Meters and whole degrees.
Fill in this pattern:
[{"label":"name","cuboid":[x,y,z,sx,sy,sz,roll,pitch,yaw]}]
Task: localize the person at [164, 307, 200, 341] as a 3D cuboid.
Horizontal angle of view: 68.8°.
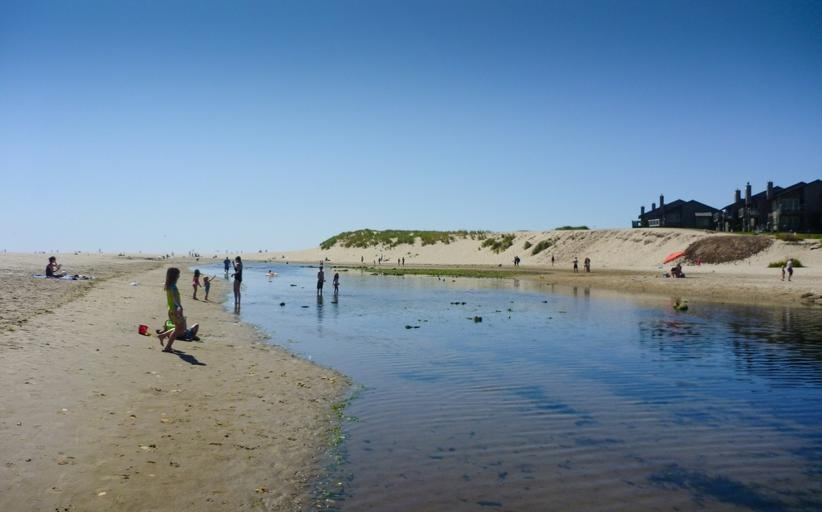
[{"label":"person","cuboid":[-9.530,2.806,25.013,1.299,1.099,2.255,18,-4,1]}]
